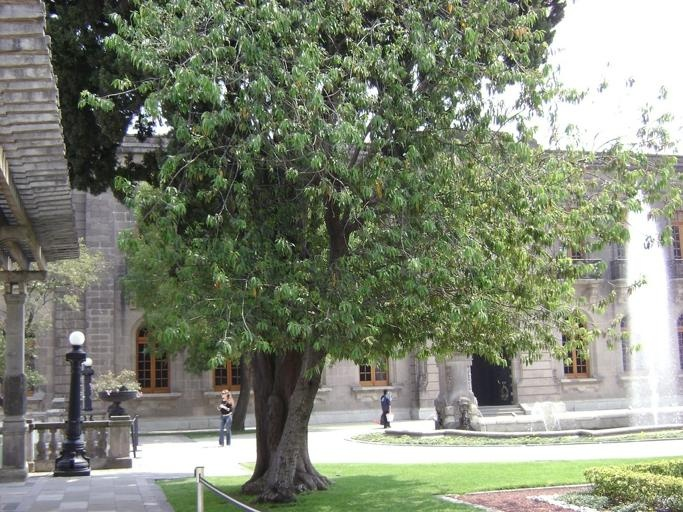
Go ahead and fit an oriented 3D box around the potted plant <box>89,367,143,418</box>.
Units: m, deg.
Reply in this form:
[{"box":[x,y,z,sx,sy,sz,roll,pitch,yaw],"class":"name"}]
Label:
[{"box":[-6.410,3.975,20.668,0.990,1.191,1.013,-2,-5,16],"class":"potted plant"}]
